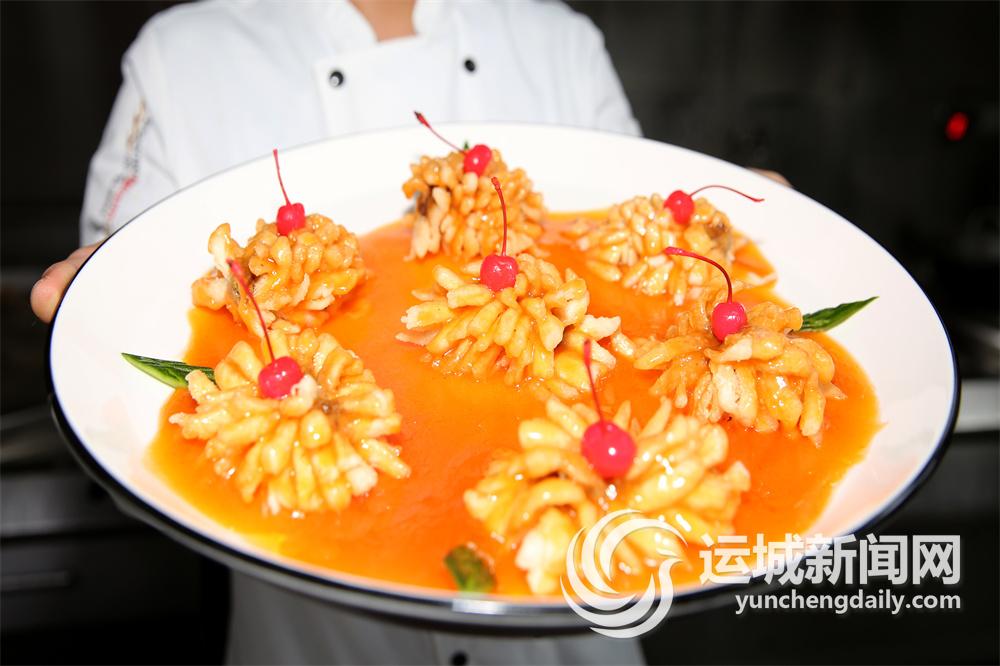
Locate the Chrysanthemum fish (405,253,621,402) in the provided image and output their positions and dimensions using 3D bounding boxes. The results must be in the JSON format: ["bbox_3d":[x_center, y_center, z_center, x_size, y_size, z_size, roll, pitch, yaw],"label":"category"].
[{"bbox_3d":[0.026,-0.037,1.924,0.541,0.124,0.334,12,64,7],"label":"Chrysanthemum fish"}]

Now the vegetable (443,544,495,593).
[{"bbox_3d":[-0.059,0.476,1.568,0.077,0.028,0.075,-4,63,-15],"label":"vegetable"}]

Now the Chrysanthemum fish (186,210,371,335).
[{"bbox_3d":[-0.577,-0.153,1.995,0.375,0.148,0.275,-11,67,-22],"label":"Chrysanthemum fish"}]
